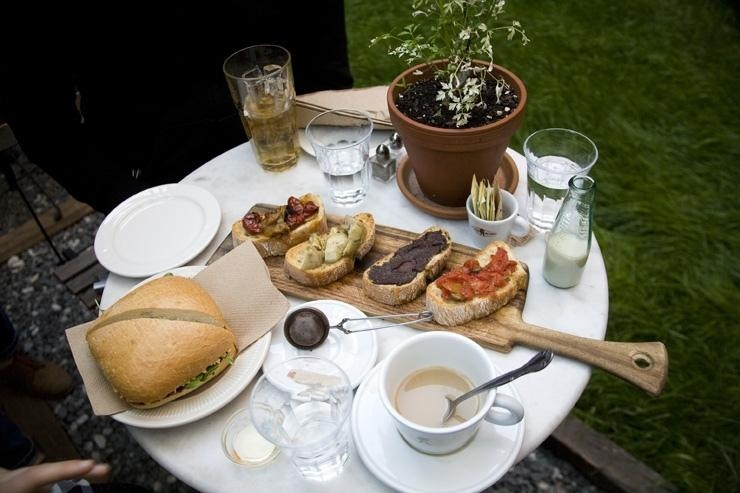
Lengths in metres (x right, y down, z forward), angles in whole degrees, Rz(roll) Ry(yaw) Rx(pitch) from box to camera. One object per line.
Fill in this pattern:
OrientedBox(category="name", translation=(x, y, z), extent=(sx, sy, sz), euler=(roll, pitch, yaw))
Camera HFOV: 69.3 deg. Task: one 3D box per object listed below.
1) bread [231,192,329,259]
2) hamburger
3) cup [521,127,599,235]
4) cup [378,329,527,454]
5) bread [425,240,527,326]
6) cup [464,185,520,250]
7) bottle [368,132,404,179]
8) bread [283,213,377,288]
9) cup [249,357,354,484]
OrientedBox(category="bread", translation=(-0.423, -0.099, 2.582), extent=(0.461, 0.189, 0.276), euler=(-18, 44, -19))
OrientedBox(category="hamburger", translation=(-0.896, 0.373, 2.277), extent=(0.532, 0.270, 0.563), euler=(28, 45, 21))
OrientedBox(category="cup", translation=(0.864, -0.254, 2.543), extent=(0.242, 0.322, 0.242), euler=(6, 19, -2))
OrientedBox(category="cup", translation=(0.310, 0.570, 1.985), extent=(0.509, 0.274, 0.401), euler=(12, 54, 18))
OrientedBox(category="bread", translation=(0.488, 0.176, 2.348), extent=(0.486, 0.161, 0.260), euler=(-29, 49, -24))
OrientedBox(category="cup", translation=(0.600, -0.097, 2.468), extent=(0.297, 0.228, 0.218), euler=(15, 50, 22))
OrientedBox(category="bottle", translation=(0.089, -0.464, 2.766), extent=(0.086, 0.159, 0.230), euler=(23, 56, 15))
OrientedBox(category="bread", translation=(-0.162, 0.042, 2.482), extent=(0.441, 0.154, 0.242), euler=(-37, 59, -23))
OrientedBox(category="cup", translation=(-0.215, 0.683, 2.182), extent=(0.426, 0.385, 0.438), euler=(-1, 58, 2))
